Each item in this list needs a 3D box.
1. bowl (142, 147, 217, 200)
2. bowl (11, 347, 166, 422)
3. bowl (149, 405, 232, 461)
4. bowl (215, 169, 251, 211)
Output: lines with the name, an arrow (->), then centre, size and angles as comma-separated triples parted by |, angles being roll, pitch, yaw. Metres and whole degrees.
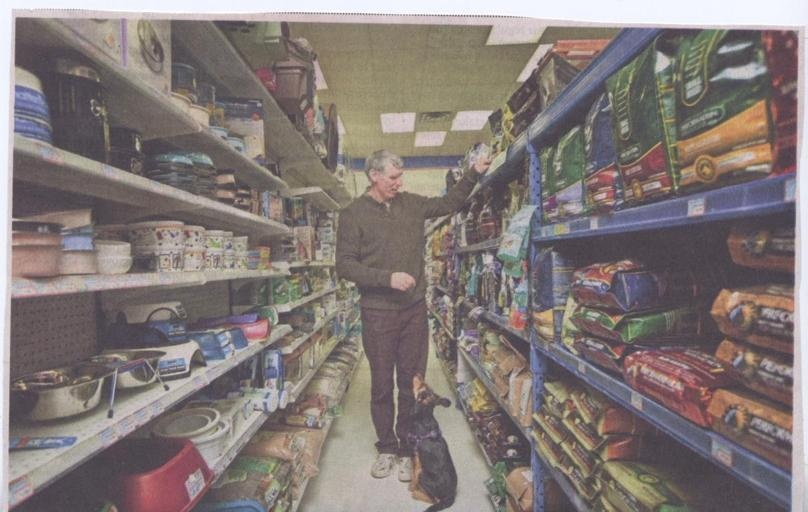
bowl -> -0.916, -0.343, 2.227 | 0.258, 0.202, 0.091 | 4, -85, 36
bowl -> -1.170, 0.480, 1.980 | 0.326, 0.324, 0.093 | -3, -93, 25
bowl -> -0.936, 0.764, 2.391 | 0.227, 0.240, 0.090 | -1, -93, -33
bowl -> -0.838, -0.327, 2.636 | 0.062, 0.159, 0.128 | -16, -49, -21
